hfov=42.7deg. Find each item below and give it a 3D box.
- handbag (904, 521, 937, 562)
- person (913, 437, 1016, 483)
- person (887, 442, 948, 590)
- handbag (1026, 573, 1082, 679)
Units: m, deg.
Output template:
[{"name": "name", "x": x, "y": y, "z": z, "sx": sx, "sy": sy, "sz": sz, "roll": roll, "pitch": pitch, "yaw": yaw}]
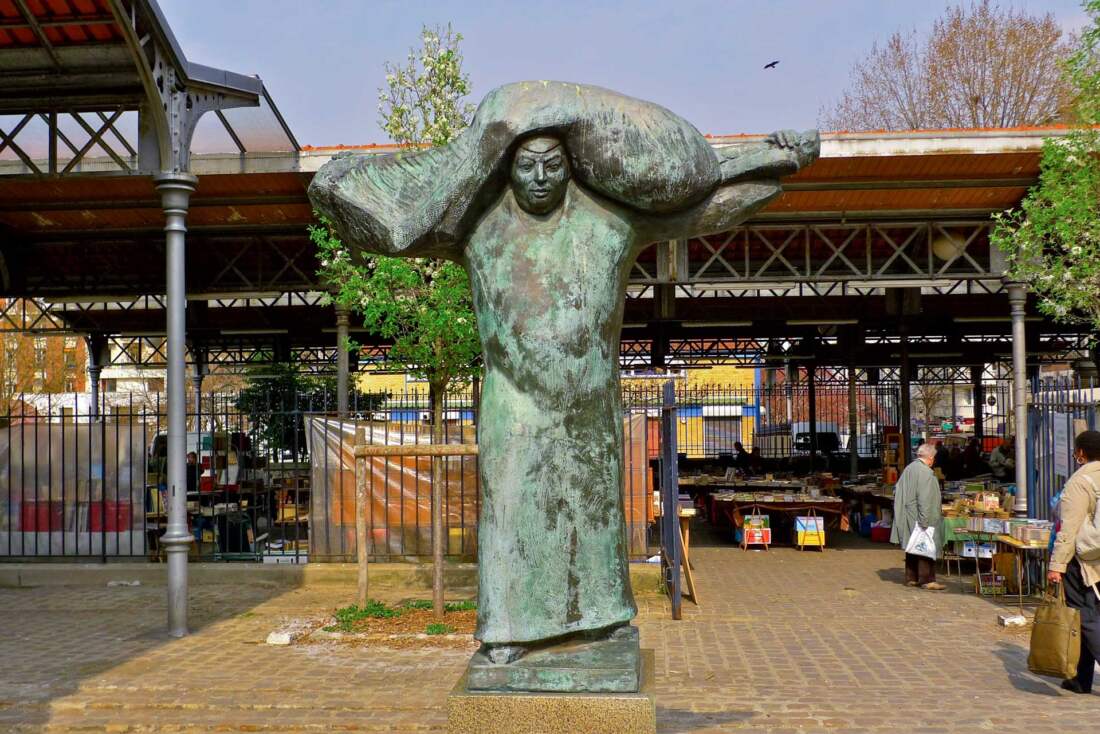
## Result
[{"name": "handbag", "x": 6.024, "y": 2.833, "z": 23.071, "sx": 0.644, "sy": 0.817, "sz": 0.271, "roll": -2, "pitch": -14, "yaw": 30}, {"name": "person", "x": 9.667, "y": 2.219, "z": 32.884, "sx": 2.003, "sy": 0.653, "sz": 1.406, "roll": 0, "pitch": -4, "yaw": 3}, {"name": "person", "x": 6.041, "y": 2.470, "z": 23.386, "sx": 0.818, "sy": 2.397, "sz": 0.969, "roll": -3, "pitch": -5, "yaw": 14}, {"name": "handbag", "x": 6.389, "y": 3.371, "z": 18.033, "sx": 0.652, "sy": 1.197, "sz": 0.410, "roll": -3, "pitch": -5, "yaw": 15}]
